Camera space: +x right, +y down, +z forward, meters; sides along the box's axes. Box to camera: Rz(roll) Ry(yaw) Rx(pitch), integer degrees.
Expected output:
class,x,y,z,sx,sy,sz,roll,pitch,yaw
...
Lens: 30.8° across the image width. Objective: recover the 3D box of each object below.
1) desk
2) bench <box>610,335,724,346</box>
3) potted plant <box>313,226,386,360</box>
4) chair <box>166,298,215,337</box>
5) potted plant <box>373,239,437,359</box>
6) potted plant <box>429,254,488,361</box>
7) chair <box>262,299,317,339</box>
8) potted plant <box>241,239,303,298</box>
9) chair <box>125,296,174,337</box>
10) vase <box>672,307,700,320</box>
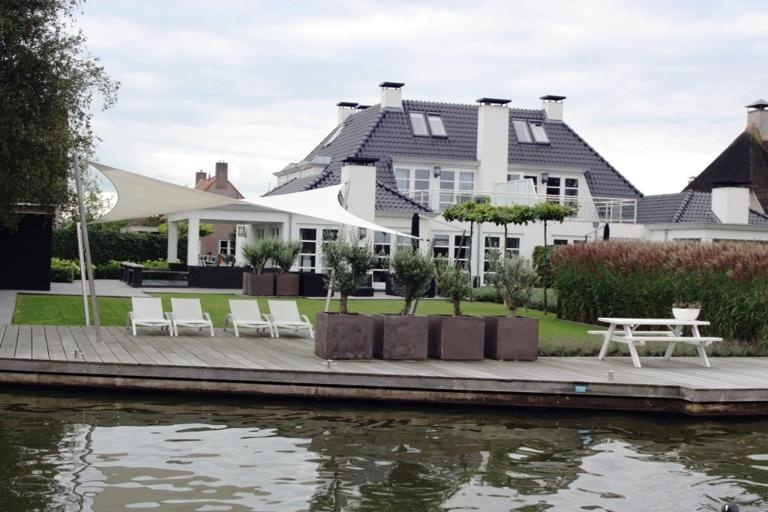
class,x,y,z,sx,sy,sz,roll,pitch,yaw
desk,8.007,2.607,40.515,5.184,1.658,2.389,0,1,11
bench,8.119,2.411,39.466,2.856,0.262,3.223,-1,-2,35
potted plant,-0.904,1.233,38.710,1.705,3.258,1.187,0,-3,19
chair,-5.733,1.815,40.798,1.179,0.872,1.476,1,3,-22
potted plant,0.551,1.333,38.695,1.677,3.128,1.020,1,-2,0
potted plant,2.025,1.544,38.838,1.573,2.739,0.760,1,-2,1
chair,-2.835,1.872,41.741,2.153,1.270,0.965,4,-3,-4
potted plant,-4.388,0.493,52.509,2.071,2.095,2.102,-1,2,-34
chair,-6.831,1.783,40.554,1.187,0.922,1.412,2,5,-22
vase,8.510,1.655,39.314,0.503,0.206,0.508,4,-6,-43
